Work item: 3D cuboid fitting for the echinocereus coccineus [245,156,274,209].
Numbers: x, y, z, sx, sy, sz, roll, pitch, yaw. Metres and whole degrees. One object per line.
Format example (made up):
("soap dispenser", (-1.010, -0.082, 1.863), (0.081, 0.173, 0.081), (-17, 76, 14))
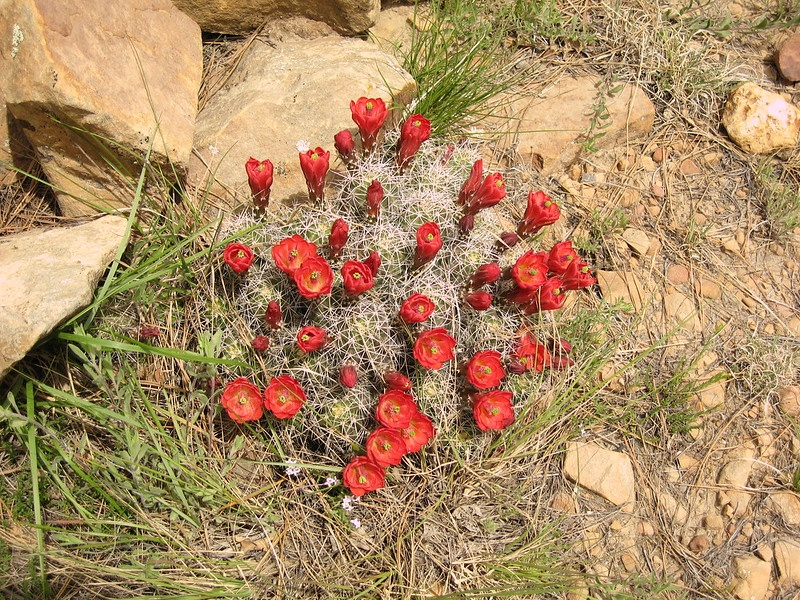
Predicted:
("echinocereus coccineus", (-0.872, -0.739, 4.010), (0.133, 0.324, 0.163), (8, 59, -6))

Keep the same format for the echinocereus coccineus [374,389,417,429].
("echinocereus coccineus", (-0.024, 0.642, 3.698), (0.224, 0.157, 0.211), (23, 72, -1))

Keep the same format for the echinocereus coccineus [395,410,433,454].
("echinocereus coccineus", (0.098, 0.776, 3.761), (0.192, 0.104, 0.234), (3, 98, -12))

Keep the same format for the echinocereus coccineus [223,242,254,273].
("echinocereus coccineus", (-0.946, -0.232, 3.809), (0.154, 0.199, 0.174), (2, 73, -8))

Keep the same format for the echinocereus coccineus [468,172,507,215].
("echinocereus coccineus", (0.542, -0.670, 4.089), (0.163, 0.276, 0.174), (48, 52, -14))

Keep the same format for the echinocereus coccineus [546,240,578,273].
("echinocereus coccineus", (0.997, -0.258, 4.055), (0.198, 0.154, 0.178), (11, 76, -45))

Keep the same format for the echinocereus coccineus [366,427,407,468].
("echinocereus coccineus", (-0.083, 0.840, 3.678), (0.223, 0.122, 0.210), (31, 72, 1))

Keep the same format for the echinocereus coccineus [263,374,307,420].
("echinocereus coccineus", (-0.664, 0.584, 3.762), (0.220, 0.316, 0.231), (31, 72, 2))

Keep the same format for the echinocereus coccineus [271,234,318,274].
("echinocereus coccineus", (-0.610, -0.272, 3.637), (0.214, 0.139, 0.236), (6, 55, 8))

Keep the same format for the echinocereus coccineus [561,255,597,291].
("echinocereus coccineus", (1.120, -0.152, 3.988), (0.211, 0.238, 0.246), (3, 94, -2))

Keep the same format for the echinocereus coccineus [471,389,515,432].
("echinocereus coccineus", (0.543, 0.649, 3.768), (0.215, 0.092, 0.217), (-10, 75, -11))

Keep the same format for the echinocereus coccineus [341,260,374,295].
("echinocereus coccineus", (-0.241, -0.121, 3.653), (0.167, 0.147, 0.183), (-13, 70, -5))

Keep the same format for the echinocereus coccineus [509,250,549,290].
("echinocereus coccineus", (0.758, -0.170, 3.871), (0.195, 0.230, 0.157), (6, 30, -23))

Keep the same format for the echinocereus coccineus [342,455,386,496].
("echinocereus coccineus", (-0.207, 1.012, 3.755), (0.217, 0.120, 0.239), (6, 103, 3))

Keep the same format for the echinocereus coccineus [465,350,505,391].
("echinocereus coccineus", (0.484, 0.443, 3.878), (0.212, 0.299, 0.210), (-7, 74, -10))

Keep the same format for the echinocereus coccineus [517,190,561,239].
("echinocereus coccineus", (0.912, -0.552, 4.282), (0.200, 0.300, 0.204), (-13, 63, -38))

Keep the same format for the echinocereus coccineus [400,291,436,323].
("echinocereus coccineus", (0.078, 0.064, 3.706), (0.163, 0.196, 0.172), (26, 99, -8))

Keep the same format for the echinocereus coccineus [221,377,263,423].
("echinocereus coccineus", (-0.902, 0.578, 3.699), (0.219, 0.107, 0.259), (-26, 96, -6))

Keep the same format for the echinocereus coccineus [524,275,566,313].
("echinocereus coccineus", (0.867, -0.040, 3.900), (0.119, 0.199, 0.119), (-27, 93, -8))

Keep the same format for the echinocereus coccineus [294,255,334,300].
("echinocereus coccineus", (-0.481, -0.105, 3.632), (0.208, 0.189, 0.228), (35, 72, 3))

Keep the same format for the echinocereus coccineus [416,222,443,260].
("echinocereus coccineus", (0.156, -0.337, 3.776), (0.138, 0.227, 0.190), (3, 73, -7))

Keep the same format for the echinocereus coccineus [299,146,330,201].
("echinocereus coccineus", (-0.531, -0.788, 4.016), (0.166, 0.324, 0.173), (-16, 58, -16))
